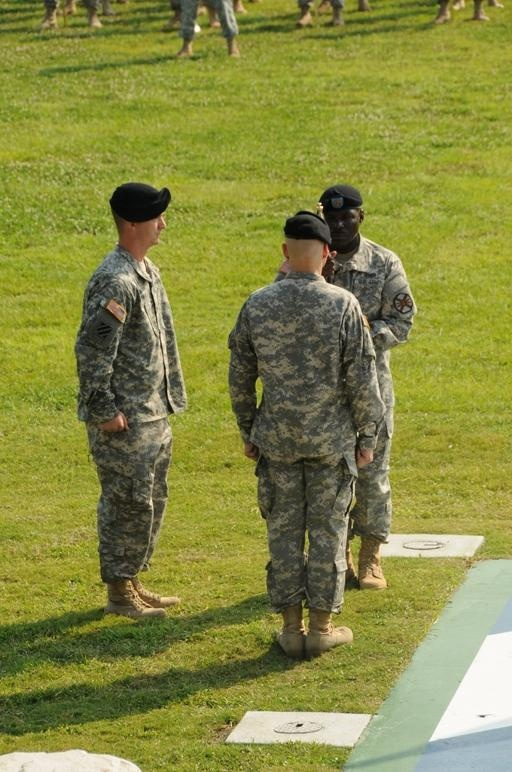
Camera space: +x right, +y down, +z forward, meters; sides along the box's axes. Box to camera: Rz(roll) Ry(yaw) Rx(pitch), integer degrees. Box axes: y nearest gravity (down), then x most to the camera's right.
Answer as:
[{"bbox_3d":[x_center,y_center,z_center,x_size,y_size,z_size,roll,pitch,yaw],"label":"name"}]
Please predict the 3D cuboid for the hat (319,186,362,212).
[{"bbox_3d":[0.521,-1.157,11.730,0.316,0.165,0.214,-2,13,-16],"label":"hat"}]

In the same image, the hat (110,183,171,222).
[{"bbox_3d":[-0.707,-1.094,11.621,0.305,0.154,0.233,-9,49,11],"label":"hat"}]

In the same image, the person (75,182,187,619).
[{"bbox_3d":[-0.740,0.085,11.686,0.543,2.629,0.731,6,13,24],"label":"person"}]

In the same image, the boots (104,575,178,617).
[{"bbox_3d":[-0.710,1.274,11.870,0.482,0.355,0.167,-3,20,-4],"label":"boots"}]

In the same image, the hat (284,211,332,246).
[{"bbox_3d":[0.299,-0.927,11.168,0.269,0.197,0.240,-1,13,-10],"label":"hat"}]

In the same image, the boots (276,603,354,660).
[{"bbox_3d":[0.328,1.412,11.369,0.241,0.446,0.448,2,14,33],"label":"boots"}]

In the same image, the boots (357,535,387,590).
[{"bbox_3d":[0.730,1.119,11.982,0.155,0.323,0.437,2,8,-3],"label":"boots"}]

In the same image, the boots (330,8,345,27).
[{"bbox_3d":[0.921,-4.199,21.637,0.216,0.265,0.150,-1,6,-7],"label":"boots"}]

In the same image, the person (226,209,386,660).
[{"bbox_3d":[0.267,0.288,11.175,0.889,2.565,0.502,4,12,13],"label":"person"}]

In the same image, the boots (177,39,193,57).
[{"bbox_3d":[-0.811,-3.756,21.085,0.190,0.270,0.124,7,17,2],"label":"boots"}]
